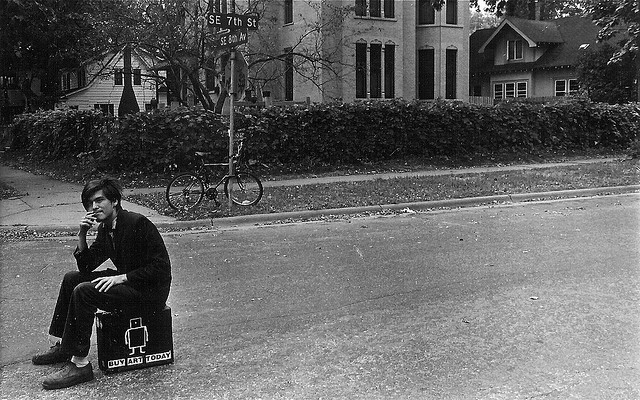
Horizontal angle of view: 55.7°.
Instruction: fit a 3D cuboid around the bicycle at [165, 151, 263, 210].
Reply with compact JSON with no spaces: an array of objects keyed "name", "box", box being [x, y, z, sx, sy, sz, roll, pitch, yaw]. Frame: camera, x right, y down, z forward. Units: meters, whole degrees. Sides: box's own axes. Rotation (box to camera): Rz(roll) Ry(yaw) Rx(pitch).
[{"name":"bicycle","box":[-2.856,-0.475,16.633,2.527,1.634,1.262,-2,-14,-11]}]
